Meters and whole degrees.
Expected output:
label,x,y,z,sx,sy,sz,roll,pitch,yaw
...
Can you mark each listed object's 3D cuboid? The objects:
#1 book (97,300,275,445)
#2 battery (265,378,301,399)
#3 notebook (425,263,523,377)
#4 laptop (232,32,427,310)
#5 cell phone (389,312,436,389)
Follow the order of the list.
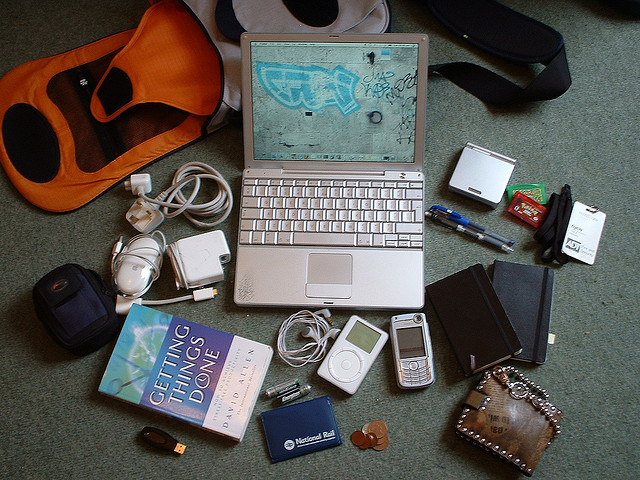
label,x,y,z,sx,sy,sz,roll,pitch,yaw
book,-0.263,0.260,1.099,0.303,0.038,0.191,17,73,7
battery,-0.073,0.291,1.093,0.088,0.027,0.026,-16,80,-4
notebook,0.313,0.170,1.106,0.162,0.044,0.217,-22,72,7
laptop,0.022,-0.110,1.074,0.374,0.271,0.479,6,79,2
cell phone,0.183,0.206,1.054,0.079,0.041,0.140,-5,79,2
